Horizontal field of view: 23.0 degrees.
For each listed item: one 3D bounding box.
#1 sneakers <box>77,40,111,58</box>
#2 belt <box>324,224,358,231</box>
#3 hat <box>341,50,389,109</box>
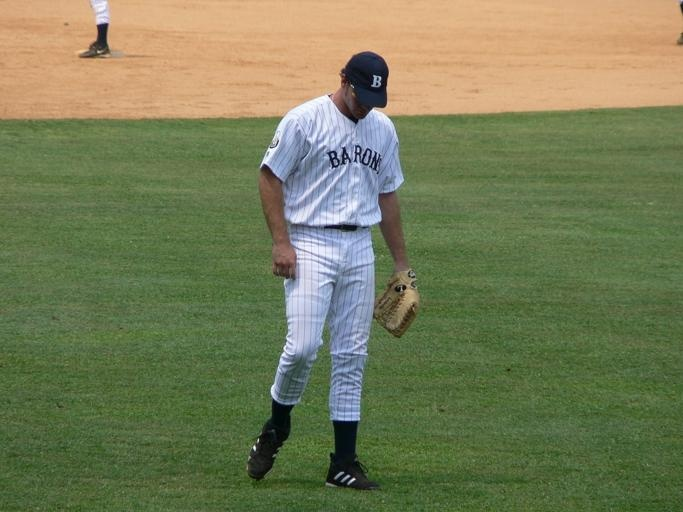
[{"bbox_3d":[-3.949,-3.256,26.717,0.496,0.171,0.234,2,10,16],"label":"sneakers"},{"bbox_3d":[-0.014,-0.264,15.751,0.313,0.084,0.031,-4,25,-10],"label":"belt"},{"bbox_3d":[0.211,-1.601,15.749,0.422,0.521,0.399,-1,24,-1],"label":"hat"}]
